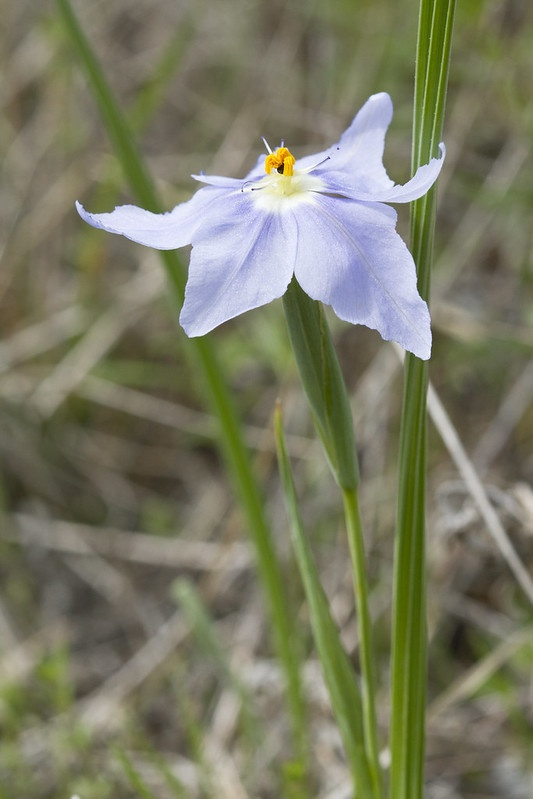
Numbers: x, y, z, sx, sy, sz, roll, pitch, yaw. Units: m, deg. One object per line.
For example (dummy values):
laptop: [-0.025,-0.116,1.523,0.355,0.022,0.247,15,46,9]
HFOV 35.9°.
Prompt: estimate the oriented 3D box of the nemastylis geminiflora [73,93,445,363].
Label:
nemastylis geminiflora: [0.030,-0.108,0.545,0.262,0.115,0.286,-7,4,-6]
